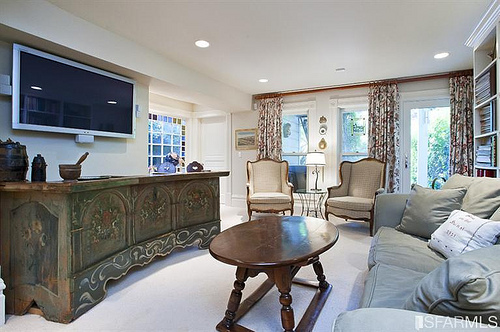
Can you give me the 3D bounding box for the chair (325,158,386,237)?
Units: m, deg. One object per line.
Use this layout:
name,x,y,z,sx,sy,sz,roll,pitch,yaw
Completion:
chair,1.820,0.460,5.365,1.055,1.180,1.068,-2,5,-7

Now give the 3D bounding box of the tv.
tv,-2.279,-0.946,3.957,0.100,1.029,1.544,6,4,31

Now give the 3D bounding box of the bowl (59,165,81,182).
bowl,-1.765,0.068,3.117,0.178,0.136,0.179,2,-4,0

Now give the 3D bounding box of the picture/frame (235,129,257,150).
picture/frame,-0.067,-0.611,7.059,0.492,0.415,0.037,1,3,29

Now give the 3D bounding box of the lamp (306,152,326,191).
lamp,1.292,0.112,6.200,0.352,0.814,0.828,2,13,13

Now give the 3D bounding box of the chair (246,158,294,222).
chair,0.323,0.422,5.960,0.949,1.129,0.950,-2,5,-17

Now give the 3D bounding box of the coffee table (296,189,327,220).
coffee table,1.340,0.733,6.479,0.462,0.479,0.474,-5,-10,42
